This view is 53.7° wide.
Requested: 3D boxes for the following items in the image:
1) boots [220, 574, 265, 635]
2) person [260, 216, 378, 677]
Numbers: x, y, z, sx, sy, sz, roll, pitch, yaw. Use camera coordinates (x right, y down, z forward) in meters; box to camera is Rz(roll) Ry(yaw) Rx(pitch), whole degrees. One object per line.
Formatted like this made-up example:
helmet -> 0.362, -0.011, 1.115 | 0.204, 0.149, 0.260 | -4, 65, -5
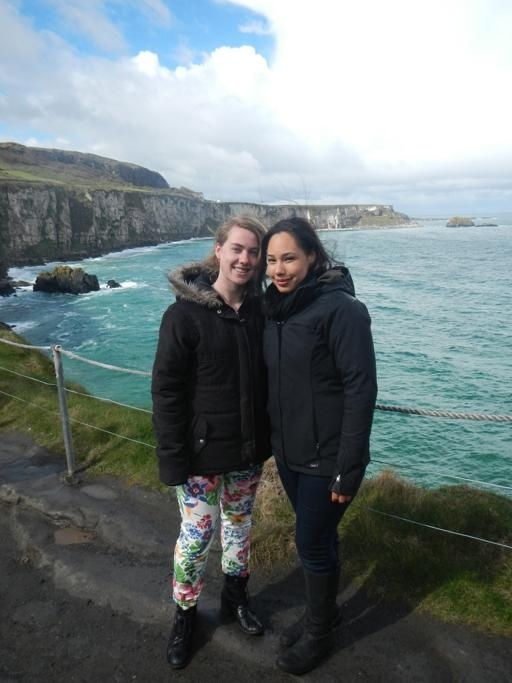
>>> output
boots -> -0.087, 1.696, 3.322 | 0.167, 0.304, 0.435 | -2, 5, -37
person -> 0.371, 0.571, 2.911 | 0.664, 2.558, 0.736 | -4, 12, 12
